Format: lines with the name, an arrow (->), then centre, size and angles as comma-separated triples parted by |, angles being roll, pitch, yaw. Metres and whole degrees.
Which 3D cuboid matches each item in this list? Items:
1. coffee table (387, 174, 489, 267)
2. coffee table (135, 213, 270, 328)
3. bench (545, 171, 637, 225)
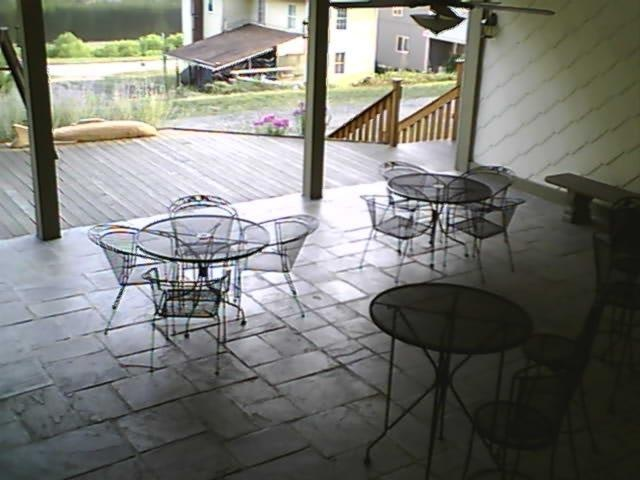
coffee table -> 1.374, -0.225, 6.530 | 1.591, 0.848, 1.250 | 7, 33, 11
coffee table -> -1.020, 0.354, 4.645 | 1.065, 0.481, 0.892 | 13, 10, 12
bench -> 3.728, -0.565, 7.126 | 0.336, 0.322, 0.996 | -27, 33, -32
